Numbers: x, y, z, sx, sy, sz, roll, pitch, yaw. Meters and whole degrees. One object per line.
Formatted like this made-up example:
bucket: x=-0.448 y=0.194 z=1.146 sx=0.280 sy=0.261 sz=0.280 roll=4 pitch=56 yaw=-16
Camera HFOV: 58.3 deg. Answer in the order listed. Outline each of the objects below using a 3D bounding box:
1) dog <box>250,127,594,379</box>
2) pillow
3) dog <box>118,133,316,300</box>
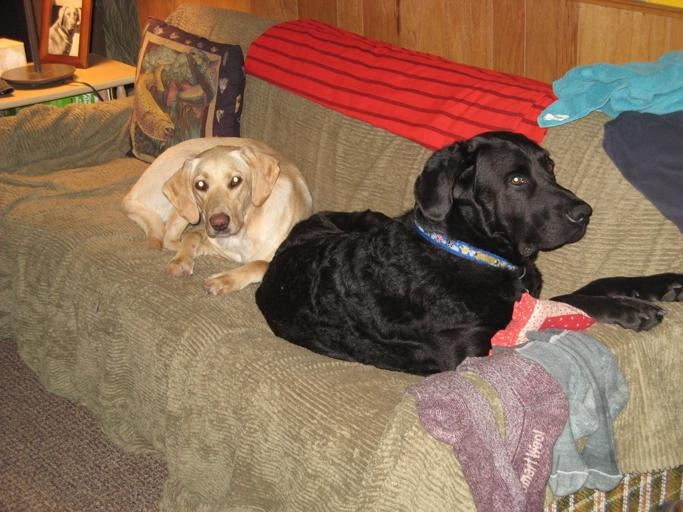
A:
dog: x=0.322 y=-0.047 z=2.585 sx=1.273 sy=0.886 sz=0.869 roll=6 pitch=14 yaw=31
pillow: x=-0.879 y=-0.928 z=3.719 sx=0.804 sy=0.771 sz=0.223 roll=24 pitch=18 yaw=38
dog: x=-0.633 y=-0.326 z=3.361 sx=0.911 sy=0.627 sz=1.360 roll=-11 pitch=29 yaw=-22
